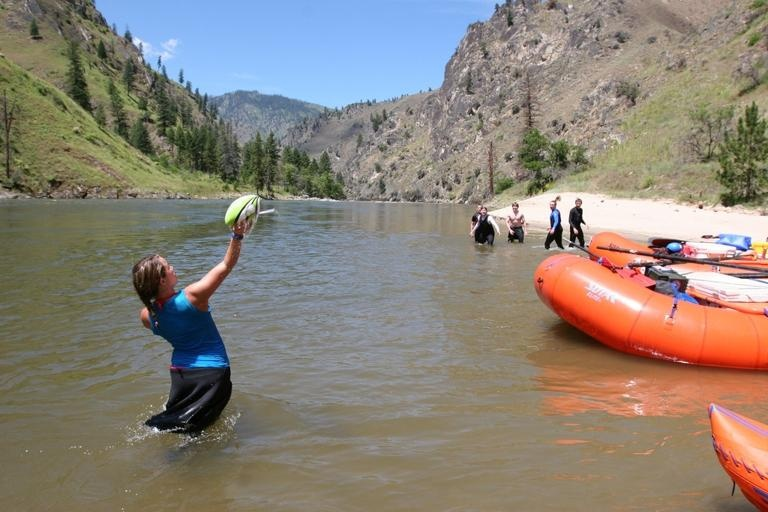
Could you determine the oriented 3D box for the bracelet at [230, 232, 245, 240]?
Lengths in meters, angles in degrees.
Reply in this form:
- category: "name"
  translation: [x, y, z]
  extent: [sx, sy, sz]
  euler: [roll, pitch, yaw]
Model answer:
- category: "bracelet"
  translation: [-2.279, -0.304, 9.511]
  extent: [0.163, 0.096, 0.149]
  euler: [6, -4, 6]
